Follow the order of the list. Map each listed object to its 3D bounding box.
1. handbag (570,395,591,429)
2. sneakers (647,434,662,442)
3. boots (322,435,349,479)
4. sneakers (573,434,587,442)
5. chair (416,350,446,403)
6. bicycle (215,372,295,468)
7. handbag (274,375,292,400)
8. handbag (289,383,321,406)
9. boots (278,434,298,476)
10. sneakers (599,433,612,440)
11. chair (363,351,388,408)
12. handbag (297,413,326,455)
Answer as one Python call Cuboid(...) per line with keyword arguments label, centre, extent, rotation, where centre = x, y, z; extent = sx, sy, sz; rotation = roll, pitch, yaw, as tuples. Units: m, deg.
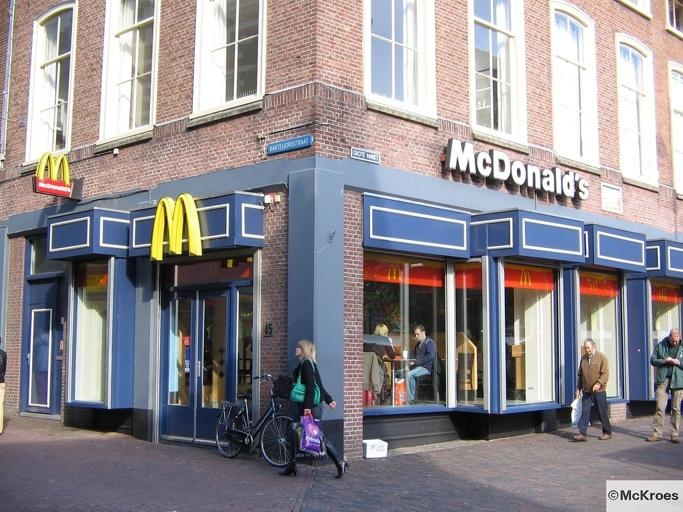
Cuboid(label="handbag", centre=(4.800, 3.172, 15.526), extent=(0.204, 0.646, 0.403), rotation=(-1, -1, 17))
Cuboid(label="sneakers", centre=(6.310, 3.687, 15.443), extent=(0.334, 0.165, 0.122), rotation=(8, -12, -20))
Cuboid(label="boots", centre=(-0.100, 3.206, 12.312), extent=(0.400, 0.652, 0.612), rotation=(-1, -1, 0))
Cuboid(label="sneakers", centre=(4.860, 3.687, 15.465), extent=(0.325, 0.155, 0.121), rotation=(4, -7, -1))
Cuboid(label="chair", centre=(1.812, 2.484, 15.610), extent=(0.612, 1.098, 0.815), rotation=(1, -14, -3))
Cuboid(label="bicycle", centre=(-1.453, 2.786, 13.183), extent=(0.917, 1.500, 2.240), rotation=(16, -15, -42))
Cuboid(label="handbag", centre=(-0.945, 2.152, 12.511), extent=(0.369, 0.434, 0.339), rotation=(8, -13, -17))
Cuboid(label="handbag", centre=(-0.575, 2.208, 12.358), extent=(0.517, 0.553, 0.315), rotation=(1, -16, 6))
Cuboid(label="boots", centre=(-0.847, 3.191, 12.315), extent=(0.277, 0.643, 0.377), rotation=(-1, -1, -1))
Cuboid(label="sneakers", centre=(5.437, 3.720, 15.711), extent=(0.114, 0.145, 0.342), rotation=(-18, -19, 41))
Cuboid(label="chair", centre=(0.609, 2.148, 14.442), extent=(0.467, 0.671, 0.549), rotation=(0, 0, 21))
Cuboid(label="handbag", centre=(-0.482, 2.870, 12.125), extent=(0.260, 0.615, 0.517), rotation=(-15, -27, 36))
